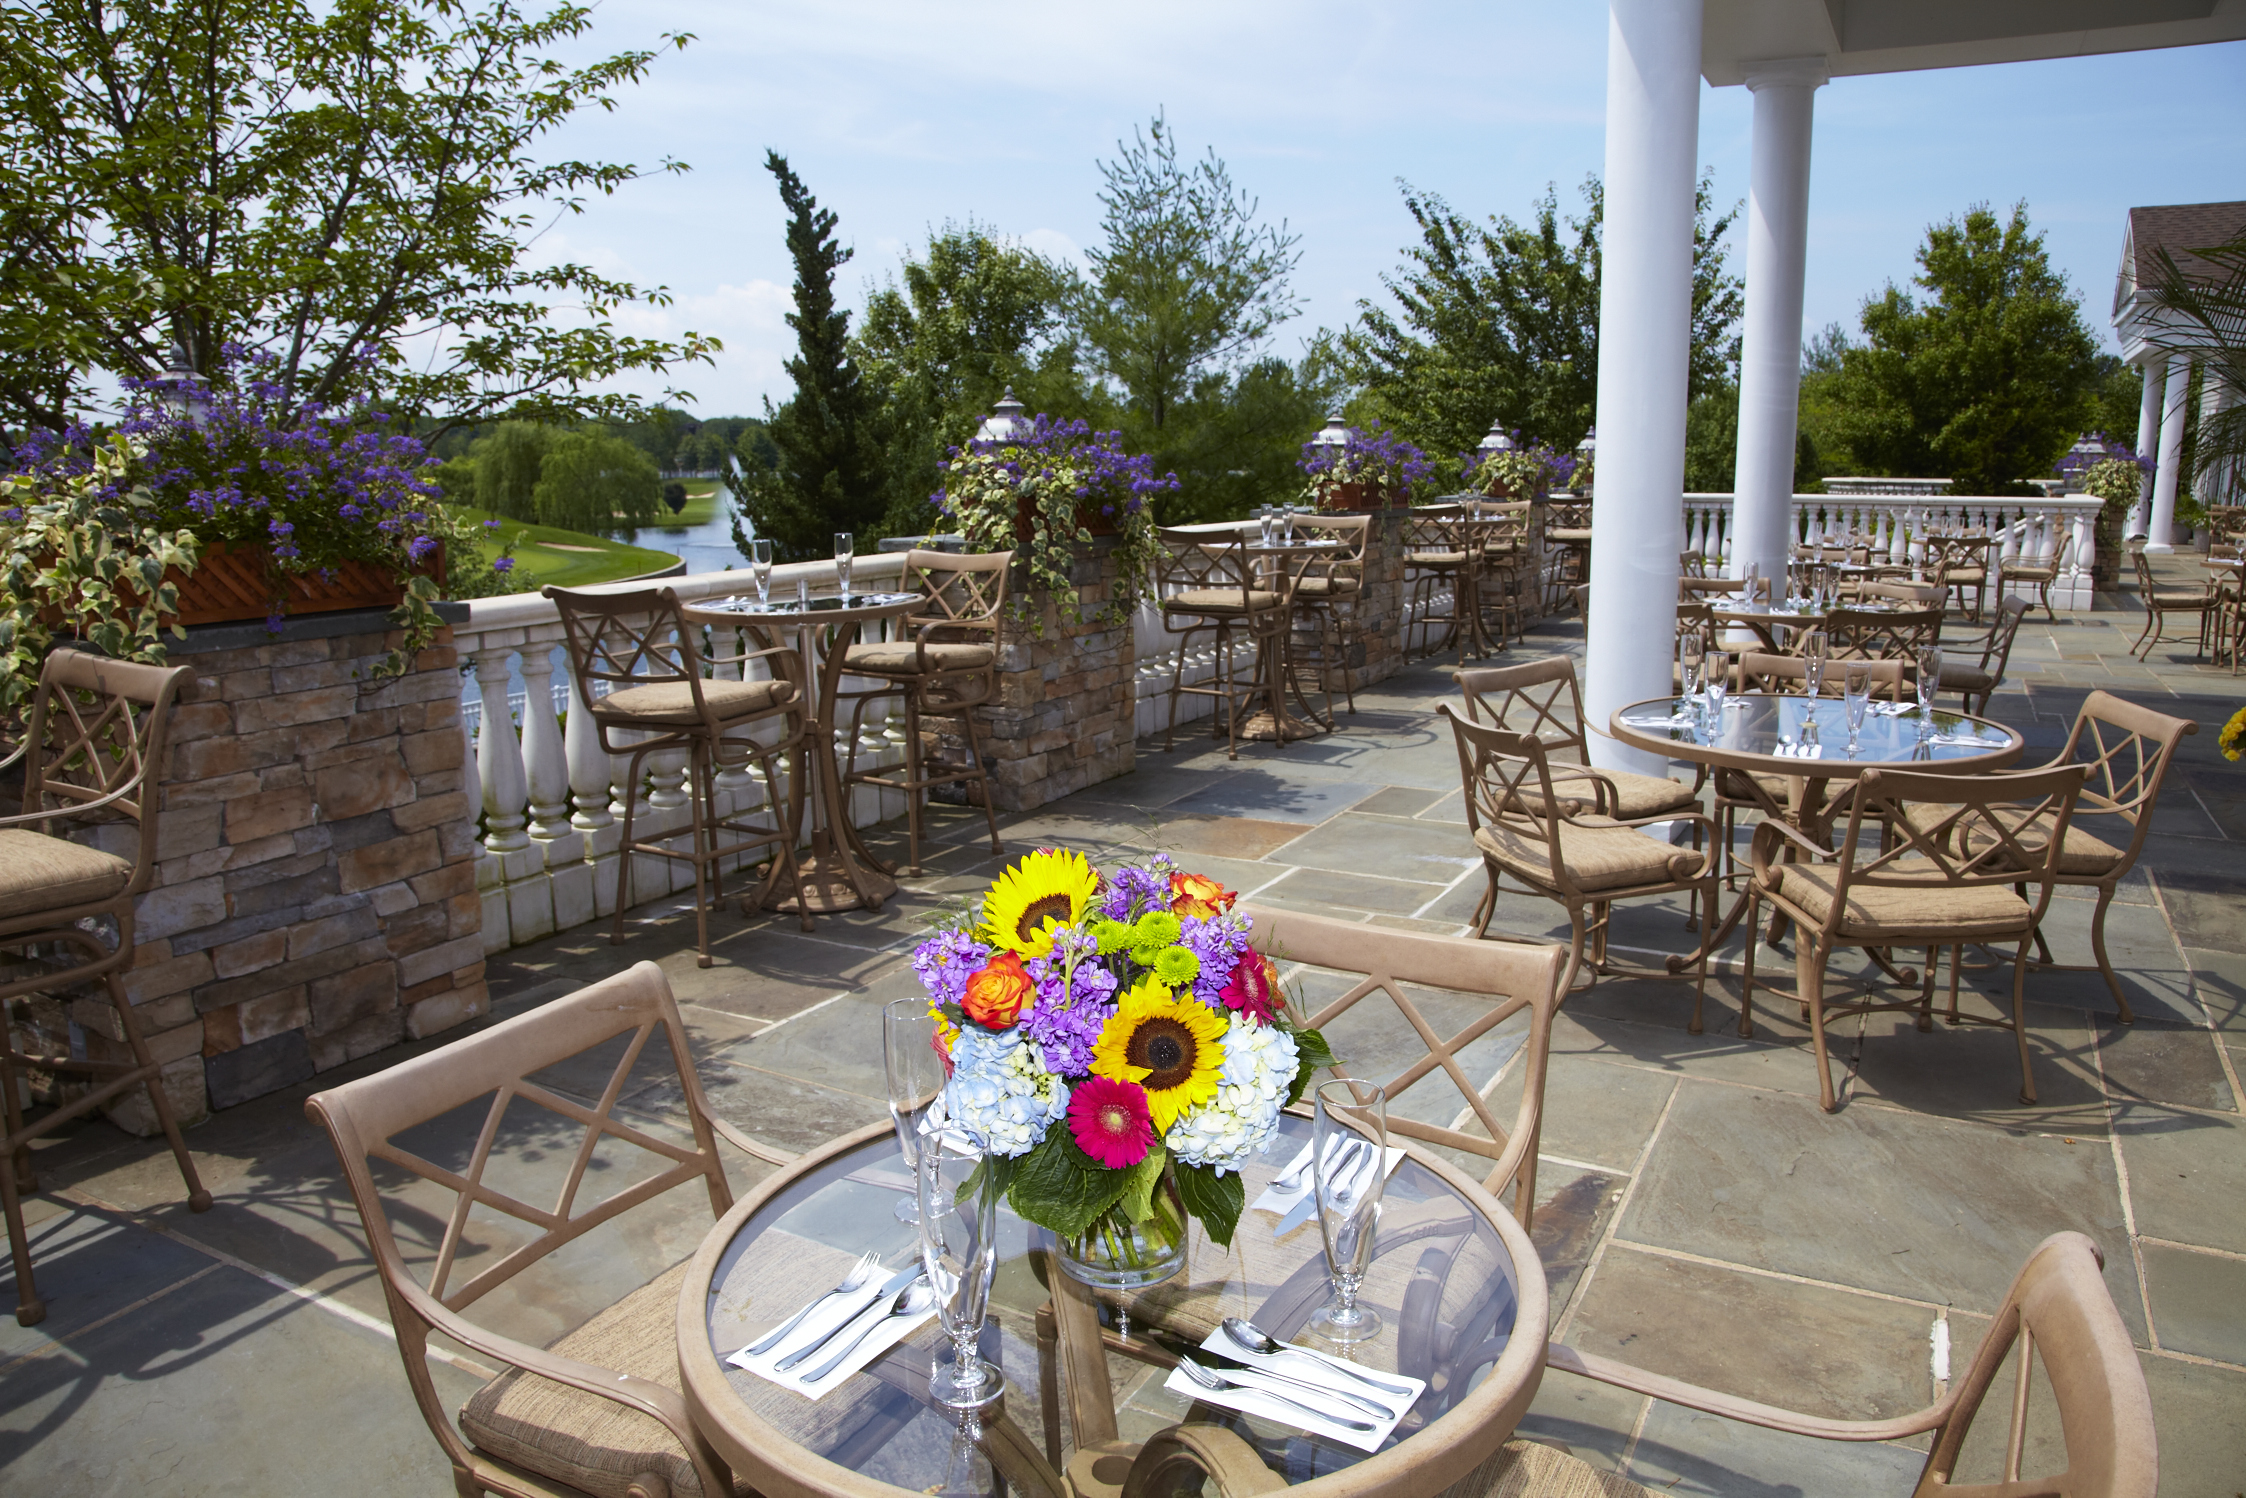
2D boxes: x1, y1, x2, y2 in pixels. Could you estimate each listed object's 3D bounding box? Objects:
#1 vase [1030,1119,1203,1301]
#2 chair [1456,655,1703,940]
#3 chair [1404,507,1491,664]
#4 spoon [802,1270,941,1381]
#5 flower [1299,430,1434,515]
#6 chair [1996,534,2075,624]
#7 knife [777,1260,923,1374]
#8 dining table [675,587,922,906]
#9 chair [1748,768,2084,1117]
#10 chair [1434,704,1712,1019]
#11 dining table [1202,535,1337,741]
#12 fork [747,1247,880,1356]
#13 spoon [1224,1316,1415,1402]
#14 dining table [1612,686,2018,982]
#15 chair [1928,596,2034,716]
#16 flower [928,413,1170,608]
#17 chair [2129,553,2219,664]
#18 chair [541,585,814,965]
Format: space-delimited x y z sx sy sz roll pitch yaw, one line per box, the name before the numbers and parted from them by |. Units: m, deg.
vase | -0.002 0.821 2.371 0.195 0.192 0.194 -14 8 -31
chair | 1.748 0.283 5.131 0.855 1.006 0.718 -10 16 -15
chair | 2.989 -1.641 12.649 0.798 1.165 0.850 -3 3 -30
spoon | -0.430 1.014 2.359 0.091 0.048 0.319 25 25 20
flower | 1.925 -2.266 10.883 1.025 0.685 0.635 -8 13 -30
chair | 10.331 -1.965 15.265 0.565 0.882 2.703 6 13 33
knife | -0.456 1.010 2.357 0.088 0.044 0.294 18 22 24
dining table | -1.448 -0.095 6.198 0.751 0.963 0.744 -16 -4 -31
chair | 2.746 0.563 4.785 1.007 1.237 1.012 -11 15 -33
chair | 1.751 0.346 5.169 1.087 1.175 0.994 2 20 21
dining table | 1.086 -0.772 9.376 0.913 1.322 0.934 4 3 18
fork | -0.531 0.994 2.363 0.075 0.041 0.273 21 29 31
spoon | 0.319 1.035 2.246 0.325 0.051 0.108 8 20 27
dining table | 2.627 0.234 5.250 1.354 0.548 1.396 5 -8 -2
chair | 5.115 -0.453 8.171 0.578 0.763 0.530 6 7 41
flower | -0.453 -1.405 7.756 1.151 0.839 1.133 -8 15 -42
chair | 9.702 -1.371 12.406 0.685 1.072 0.678 0 10 20
chair | -1.956 0.017 6.022 0.984 1.546 1.507 -5 12 -17
